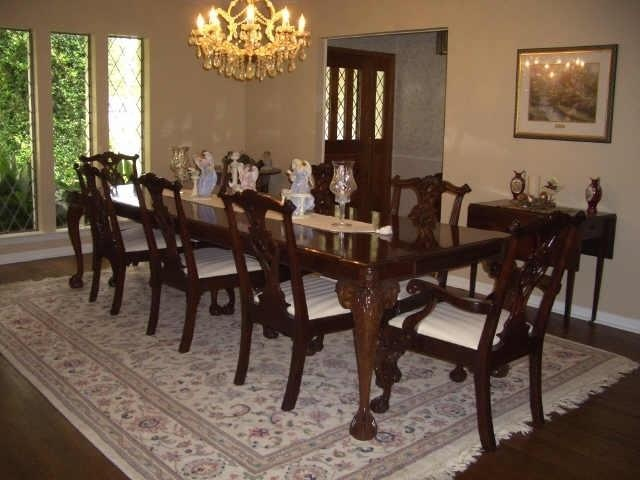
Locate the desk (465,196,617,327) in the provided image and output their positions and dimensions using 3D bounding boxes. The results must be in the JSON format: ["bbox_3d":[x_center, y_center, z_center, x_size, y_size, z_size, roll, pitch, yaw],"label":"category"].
[{"bbox_3d":[1.828,0.184,4.556,1.200,1.083,0.472,7,19,33],"label":"desk"}]

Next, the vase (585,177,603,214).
[{"bbox_3d":[2.173,-0.360,4.152,0.127,0.264,0.275,9,16,28],"label":"vase"}]

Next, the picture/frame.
[{"bbox_3d":[2.047,-1.215,4.280,0.053,0.787,0.784,-9,15,-43],"label":"picture/frame"}]
